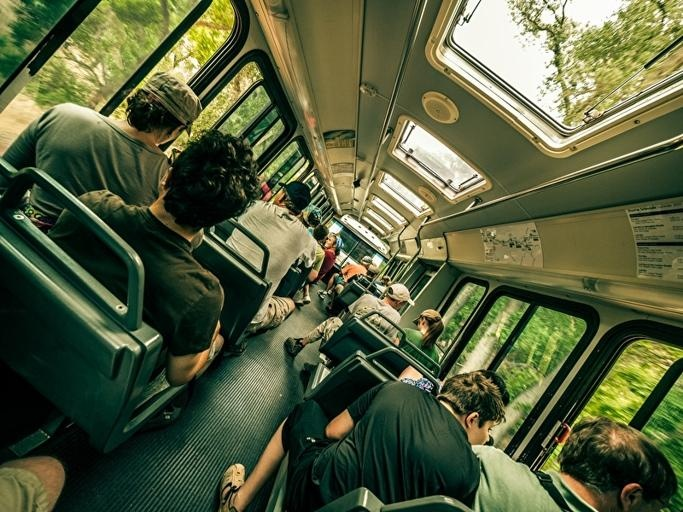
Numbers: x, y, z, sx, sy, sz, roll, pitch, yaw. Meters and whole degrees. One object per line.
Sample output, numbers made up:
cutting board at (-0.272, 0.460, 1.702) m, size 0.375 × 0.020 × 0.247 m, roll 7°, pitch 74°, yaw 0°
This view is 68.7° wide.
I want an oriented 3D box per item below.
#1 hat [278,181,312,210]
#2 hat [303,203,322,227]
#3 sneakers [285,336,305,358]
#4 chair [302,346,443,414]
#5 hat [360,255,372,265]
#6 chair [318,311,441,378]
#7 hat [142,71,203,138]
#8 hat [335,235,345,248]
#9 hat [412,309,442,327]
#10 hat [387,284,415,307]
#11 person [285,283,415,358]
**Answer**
hat at (-0.455, -0.614, 5.238) m, size 0.224 × 0.328 × 0.185 m, roll 13°, pitch -33°, yaw -42°
hat at (-0.336, -0.521, 6.313) m, size 0.208 × 0.293 × 0.292 m, roll -1°, pitch 10°, yaw 0°
sneakers at (-0.576, 1.140, 6.409) m, size 0.133 × 0.264 × 0.374 m, roll 42°, pitch 9°, yaw -20°
chair at (0.039, 1.135, 4.599) m, size 0.467 × 0.302 × 0.840 m, roll 29°, pitch -41°, yaw -6°
hat at (0.735, 0.129, 14.405) m, size 0.218 × 0.127 × 0.291 m, roll 8°, pitch -13°, yaw -27°
chair at (0.441, 0.992, 5.551) m, size 0.798 × 0.560 × 0.507 m, roll 35°, pitch -1°, yaw -25°
hat at (-1.324, -1.262, 4.080) m, size 0.320 × 0.258 × 0.464 m, roll 36°, pitch -4°, yaw 18°
hat at (-0.007, -0.355, 13.833) m, size 0.234 × 0.351 × 0.302 m, roll 8°, pitch 8°, yaw -4°
hat at (1.185, 0.799, 6.629) m, size 0.424 × 0.232 × 0.353 m, roll -7°, pitch -3°, yaw -1°
hat at (0.892, 0.554, 7.136) m, size 0.379 × 0.227 × 0.267 m, roll 25°, pitch 12°, yaw -28°
person at (0.046, 0.828, 6.536) m, size 1.663 × 1.212 × 0.745 m, roll 10°, pitch 0°, yaw 15°
